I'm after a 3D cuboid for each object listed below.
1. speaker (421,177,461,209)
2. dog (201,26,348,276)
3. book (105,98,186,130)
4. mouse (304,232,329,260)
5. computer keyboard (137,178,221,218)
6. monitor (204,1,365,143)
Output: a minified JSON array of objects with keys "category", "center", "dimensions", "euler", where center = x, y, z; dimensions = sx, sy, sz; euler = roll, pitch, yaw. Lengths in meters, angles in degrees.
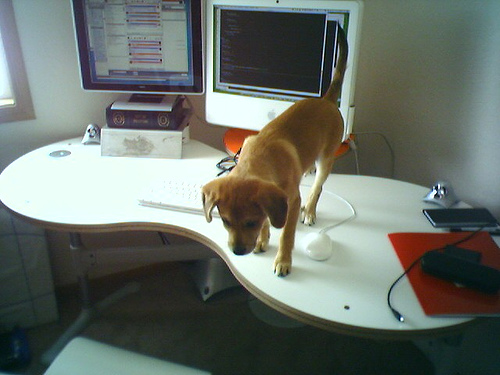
[{"category":"speaker","center":[0.727,0.018,1.528],"dimensions":[0.116,0.057,0.147],"euler":[7,21,36]},{"category":"dog","center":[0.102,-0.146,1.336],"dimensions":[0.368,0.621,0.671],"euler":[11,26,16]},{"category":"book","center":[-0.475,-0.300,1.742],"dimensions":[0.297,0.091,0.025],"euler":[5,24,-1]},{"category":"mouse","center":[0.221,0.181,1.305],"dimensions":[0.091,0.037,0.133],"euler":[3,29,3]},{"category":"computer keyboard","center":[-0.287,0.030,1.494],"dimensions":[0.244,0.041,0.145],"euler":[8,38,10]},{"category":"monitor","center":[0.125,-0.469,1.544],"dimensions":[0.483,0.543,0.173],"euler":[12,26,14]}]
